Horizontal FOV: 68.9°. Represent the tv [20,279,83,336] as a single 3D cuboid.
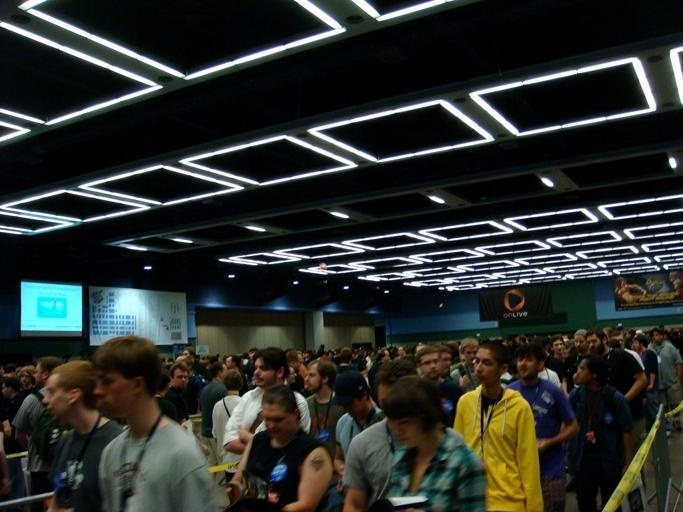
[{"bbox_3d":[-9.347,1.686,15.875,0.149,1.717,1.821,-8,-12,29],"label":"tv"}]
